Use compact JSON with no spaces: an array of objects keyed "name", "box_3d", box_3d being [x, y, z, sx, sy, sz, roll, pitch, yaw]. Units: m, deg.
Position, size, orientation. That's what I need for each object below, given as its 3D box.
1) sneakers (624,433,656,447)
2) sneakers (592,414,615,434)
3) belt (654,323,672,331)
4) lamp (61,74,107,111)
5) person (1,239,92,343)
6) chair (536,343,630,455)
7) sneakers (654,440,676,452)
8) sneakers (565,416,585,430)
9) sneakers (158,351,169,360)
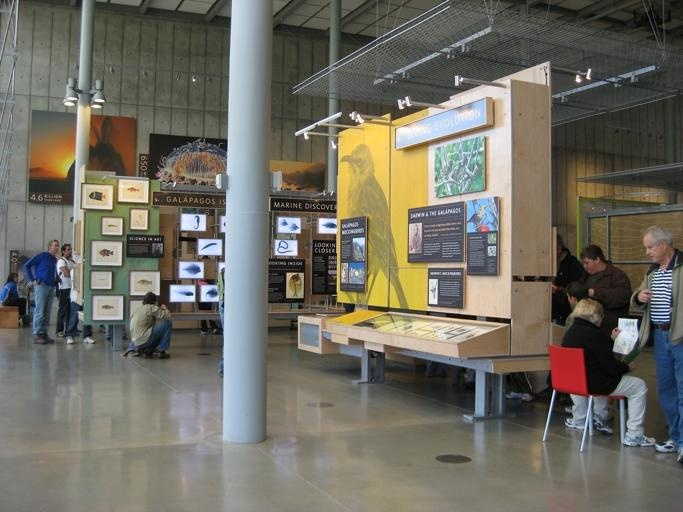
[{"name":"sneakers","box_3d":[2.945,1.834,6.489,0.317,0.150,0.131,-1,-2,-1]},{"name":"sneakers","box_3d":[2.790,1.810,6.901,0.106,0.124,0.289,4,-7,-3]},{"name":"belt","box_3d":[3.102,0.689,6.254,0.119,0.050,0.093,2,-6,-7]},{"name":"lamp","box_3d":[-5.725,-3.566,14.468,1.119,0.513,0.915,0,-1,-20]},{"name":"person","box_3d":[-5.709,0.695,12.826,0.951,1.797,1.429,1,0,-23]},{"name":"chair","box_3d":[2.413,1.390,6.433,0.654,0.931,0.597,1,-3,-17]},{"name":"sneakers","box_3d":[3.148,1.854,6.300,0.202,0.094,0.078,-4,1,-23]},{"name":"sneakers","box_3d":[2.539,1.824,7.066,0.091,0.094,0.194,2,2,-23]},{"name":"sneakers","box_3d":[-3.066,1.714,11.166,0.207,0.147,0.077,-1,3,-27]}]
